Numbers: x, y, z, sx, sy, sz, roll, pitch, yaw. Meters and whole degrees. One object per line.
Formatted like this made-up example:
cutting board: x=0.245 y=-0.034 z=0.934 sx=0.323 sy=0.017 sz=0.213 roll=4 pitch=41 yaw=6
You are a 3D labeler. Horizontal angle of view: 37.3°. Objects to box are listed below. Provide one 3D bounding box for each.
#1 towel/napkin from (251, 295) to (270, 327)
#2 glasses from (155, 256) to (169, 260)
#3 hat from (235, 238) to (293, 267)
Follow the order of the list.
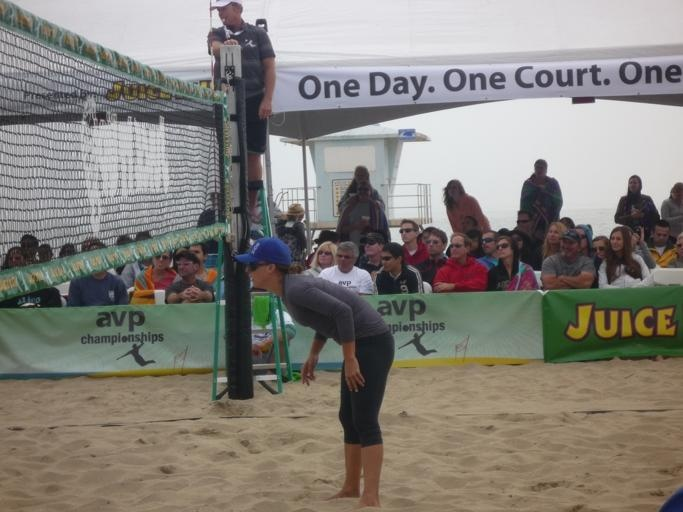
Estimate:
towel/napkin: x=-0.936 y=0.659 z=12.102 sx=0.222 sy=0.359 sz=0.203 roll=2 pitch=1 yaw=21
glasses: x=-2.448 y=0.023 z=13.780 sx=0.109 sy=0.067 sz=0.152 roll=0 pitch=1 yaw=3
hat: x=-0.678 y=-0.034 z=8.962 sx=0.379 sy=0.232 sz=0.249 roll=6 pitch=2 yaw=4
